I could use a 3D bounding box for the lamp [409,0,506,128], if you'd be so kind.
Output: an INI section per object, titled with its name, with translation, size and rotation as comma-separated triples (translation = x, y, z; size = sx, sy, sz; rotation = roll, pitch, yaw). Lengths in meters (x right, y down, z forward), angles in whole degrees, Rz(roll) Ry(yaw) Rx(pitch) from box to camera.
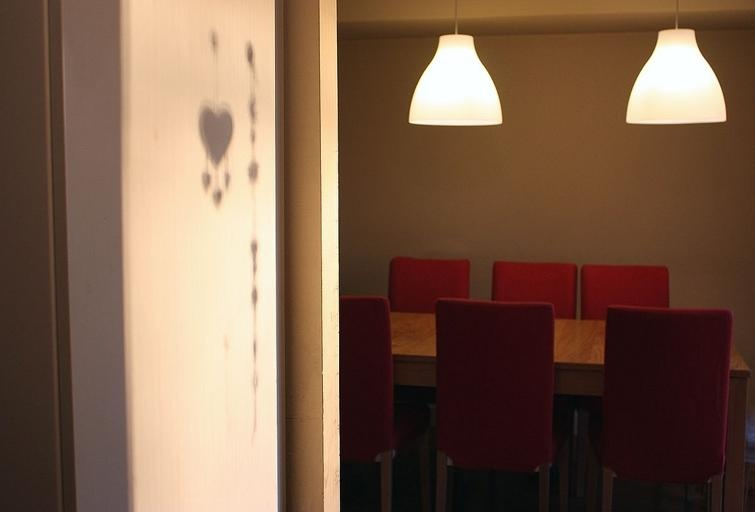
[lamp]
translation = 0.275, -0.657, 2.743
size = 0.275, 0.605, 0.314
rotation = 0, -4, 5

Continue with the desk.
[desk]
translation = 0.618, 0.482, 2.746
size = 1.235, 0.502, 0.687
rotation = 5, 6, 14
